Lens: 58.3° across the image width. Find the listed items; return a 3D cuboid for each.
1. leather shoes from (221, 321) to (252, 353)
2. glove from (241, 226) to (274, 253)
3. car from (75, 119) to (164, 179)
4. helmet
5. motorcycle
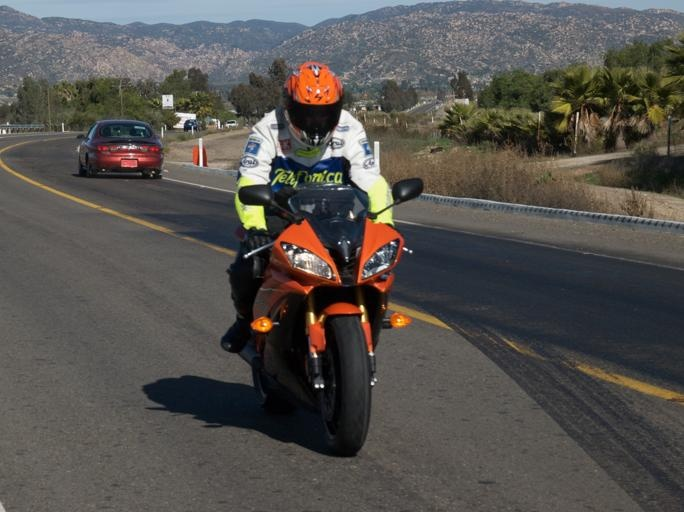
[{"bbox_3d":[-0.846,0.622,4.729,0.133,0.166,0.380,25,4,-10],"label":"leather shoes"},{"bbox_3d":[-0.608,-0.114,4.240,0.219,0.086,0.159,-4,1,-15],"label":"glove"},{"bbox_3d":[-8.756,-4.162,24.119,2.862,2.255,1.453,-1,9,-13],"label":"car"},{"bbox_3d":[-0.229,-1.102,4.433,0.426,0.538,0.560,-1,27,-8],"label":"helmet"},{"bbox_3d":[-0.169,0.419,3.937,1.070,1.726,0.753,8,12,40],"label":"motorcycle"}]
